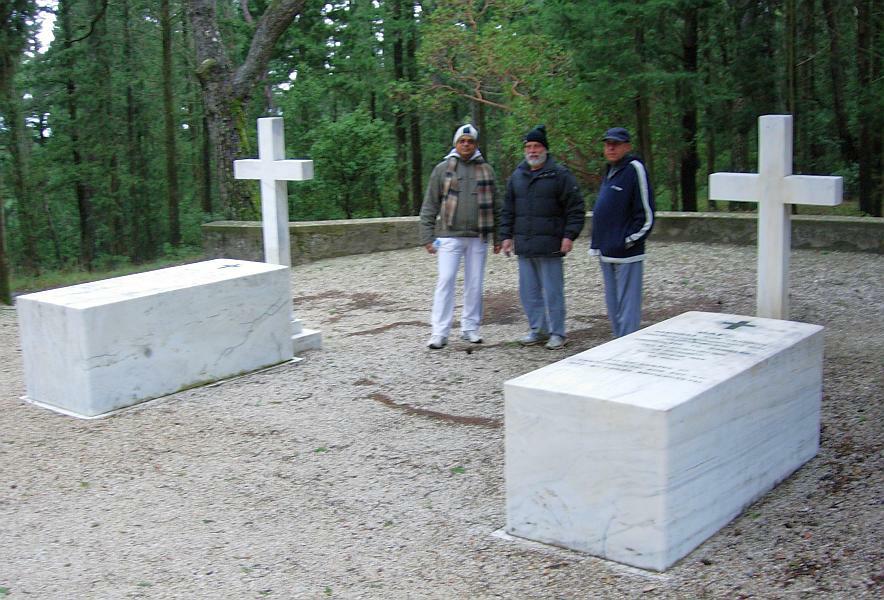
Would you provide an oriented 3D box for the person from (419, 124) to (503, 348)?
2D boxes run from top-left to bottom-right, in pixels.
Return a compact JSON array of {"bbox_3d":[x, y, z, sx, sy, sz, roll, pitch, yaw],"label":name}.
[{"bbox_3d":[0.167,-0.626,8.124,0.863,2.207,0.489,-5,12,-11],"label":"person"}]

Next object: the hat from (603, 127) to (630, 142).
[{"bbox_3d":[1.536,-1.440,6.980,0.187,0.085,0.234,3,0,34],"label":"hat"}]

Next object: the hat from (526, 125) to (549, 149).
[{"bbox_3d":[0.872,-1.593,7.821,0.264,0.185,0.314,3,3,27],"label":"hat"}]

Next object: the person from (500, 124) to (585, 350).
[{"bbox_3d":[0.979,-0.614,7.873,0.872,2.157,0.443,1,12,19],"label":"person"}]

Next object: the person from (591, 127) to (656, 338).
[{"bbox_3d":[1.576,-0.566,7.036,0.556,1.868,0.502,-1,12,10],"label":"person"}]
